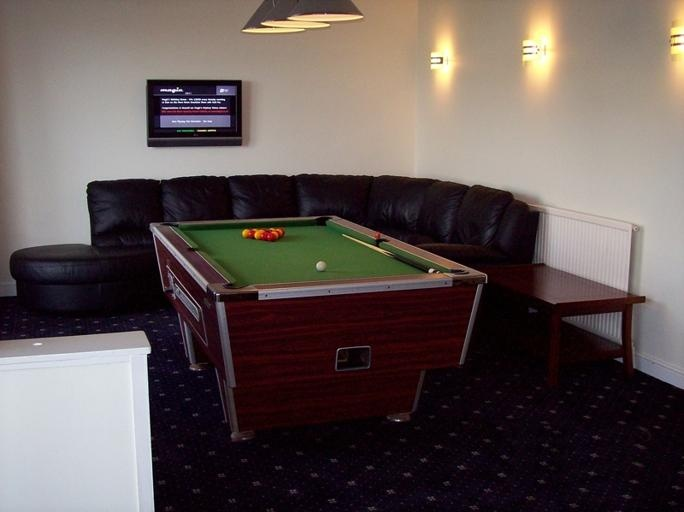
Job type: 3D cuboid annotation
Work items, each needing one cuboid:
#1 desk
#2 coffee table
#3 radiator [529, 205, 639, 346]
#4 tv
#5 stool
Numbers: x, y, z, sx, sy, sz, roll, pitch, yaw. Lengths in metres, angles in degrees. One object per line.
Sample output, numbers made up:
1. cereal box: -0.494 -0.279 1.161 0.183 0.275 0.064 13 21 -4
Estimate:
1. desk: -0.031 0.174 3.433 2.012 1.126 2.458 0 11 -19
2. coffee table: 1.518 0.455 4.072 1.089 0.697 1.572 -1 13 -10
3. radiator: 1.918 0.119 4.184 0.552 0.853 0.870 -2 14 -10
4. tv: -1.675 -1.638 5.917 1.020 0.702 0.143 -4 14 -19
5. stool: -2.725 0.211 5.150 0.893 0.556 0.941 -3 15 -31
